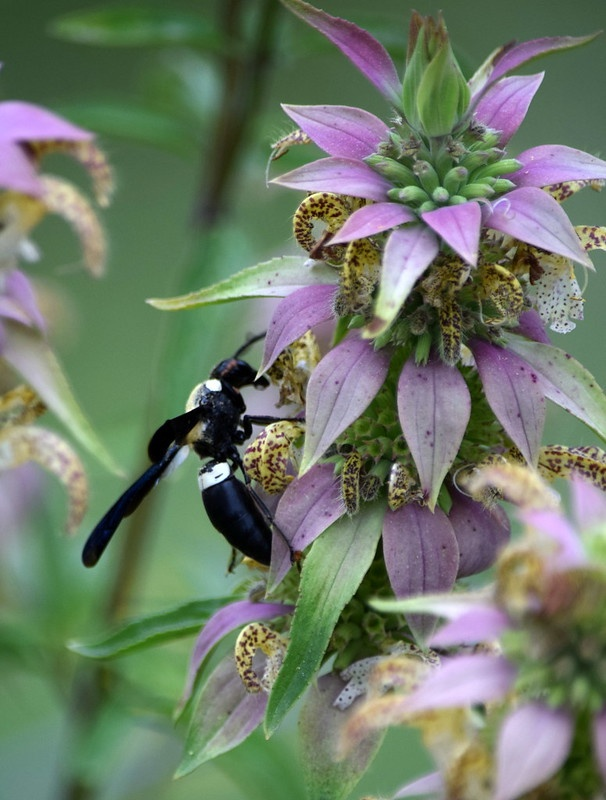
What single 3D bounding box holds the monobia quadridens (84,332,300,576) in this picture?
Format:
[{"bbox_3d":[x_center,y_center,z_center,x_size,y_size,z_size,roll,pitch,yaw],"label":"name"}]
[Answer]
[{"bbox_3d":[-0.126,0.096,1.111,0.326,0.101,0.244,-46,11,-26],"label":"monobia quadridens"}]
